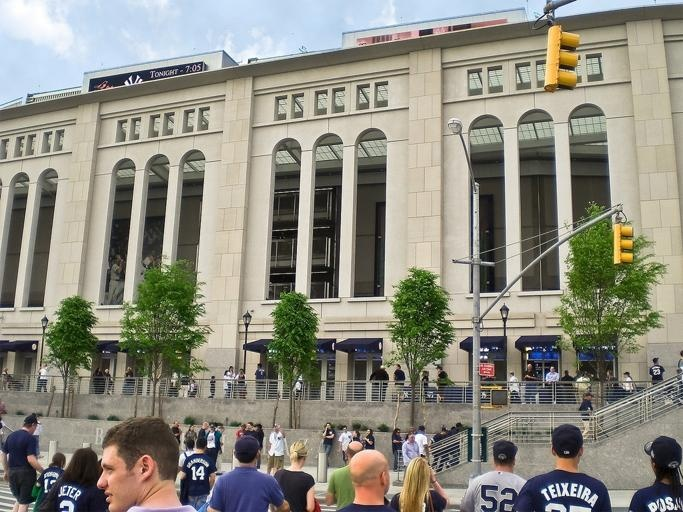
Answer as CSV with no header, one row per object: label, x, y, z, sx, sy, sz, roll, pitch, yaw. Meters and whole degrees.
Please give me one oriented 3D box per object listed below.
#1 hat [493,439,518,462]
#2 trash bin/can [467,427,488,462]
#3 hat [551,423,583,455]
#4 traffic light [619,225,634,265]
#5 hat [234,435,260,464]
hat,3.790,4.406,19.181,0.391,0.294,0.582,0,27,18
trash bin/can,5.209,7.144,31.921,0.664,1.342,1.869,0,-18,5
hat,4.849,3.948,17.892,0.624,0.708,0.318,-2,-19,10
traffic light,9.977,-0.420,29.163,0.463,1.572,0.667,-5,-19,19
hat,-2.222,4.489,19.448,0.550,0.649,0.397,4,-18,-7
